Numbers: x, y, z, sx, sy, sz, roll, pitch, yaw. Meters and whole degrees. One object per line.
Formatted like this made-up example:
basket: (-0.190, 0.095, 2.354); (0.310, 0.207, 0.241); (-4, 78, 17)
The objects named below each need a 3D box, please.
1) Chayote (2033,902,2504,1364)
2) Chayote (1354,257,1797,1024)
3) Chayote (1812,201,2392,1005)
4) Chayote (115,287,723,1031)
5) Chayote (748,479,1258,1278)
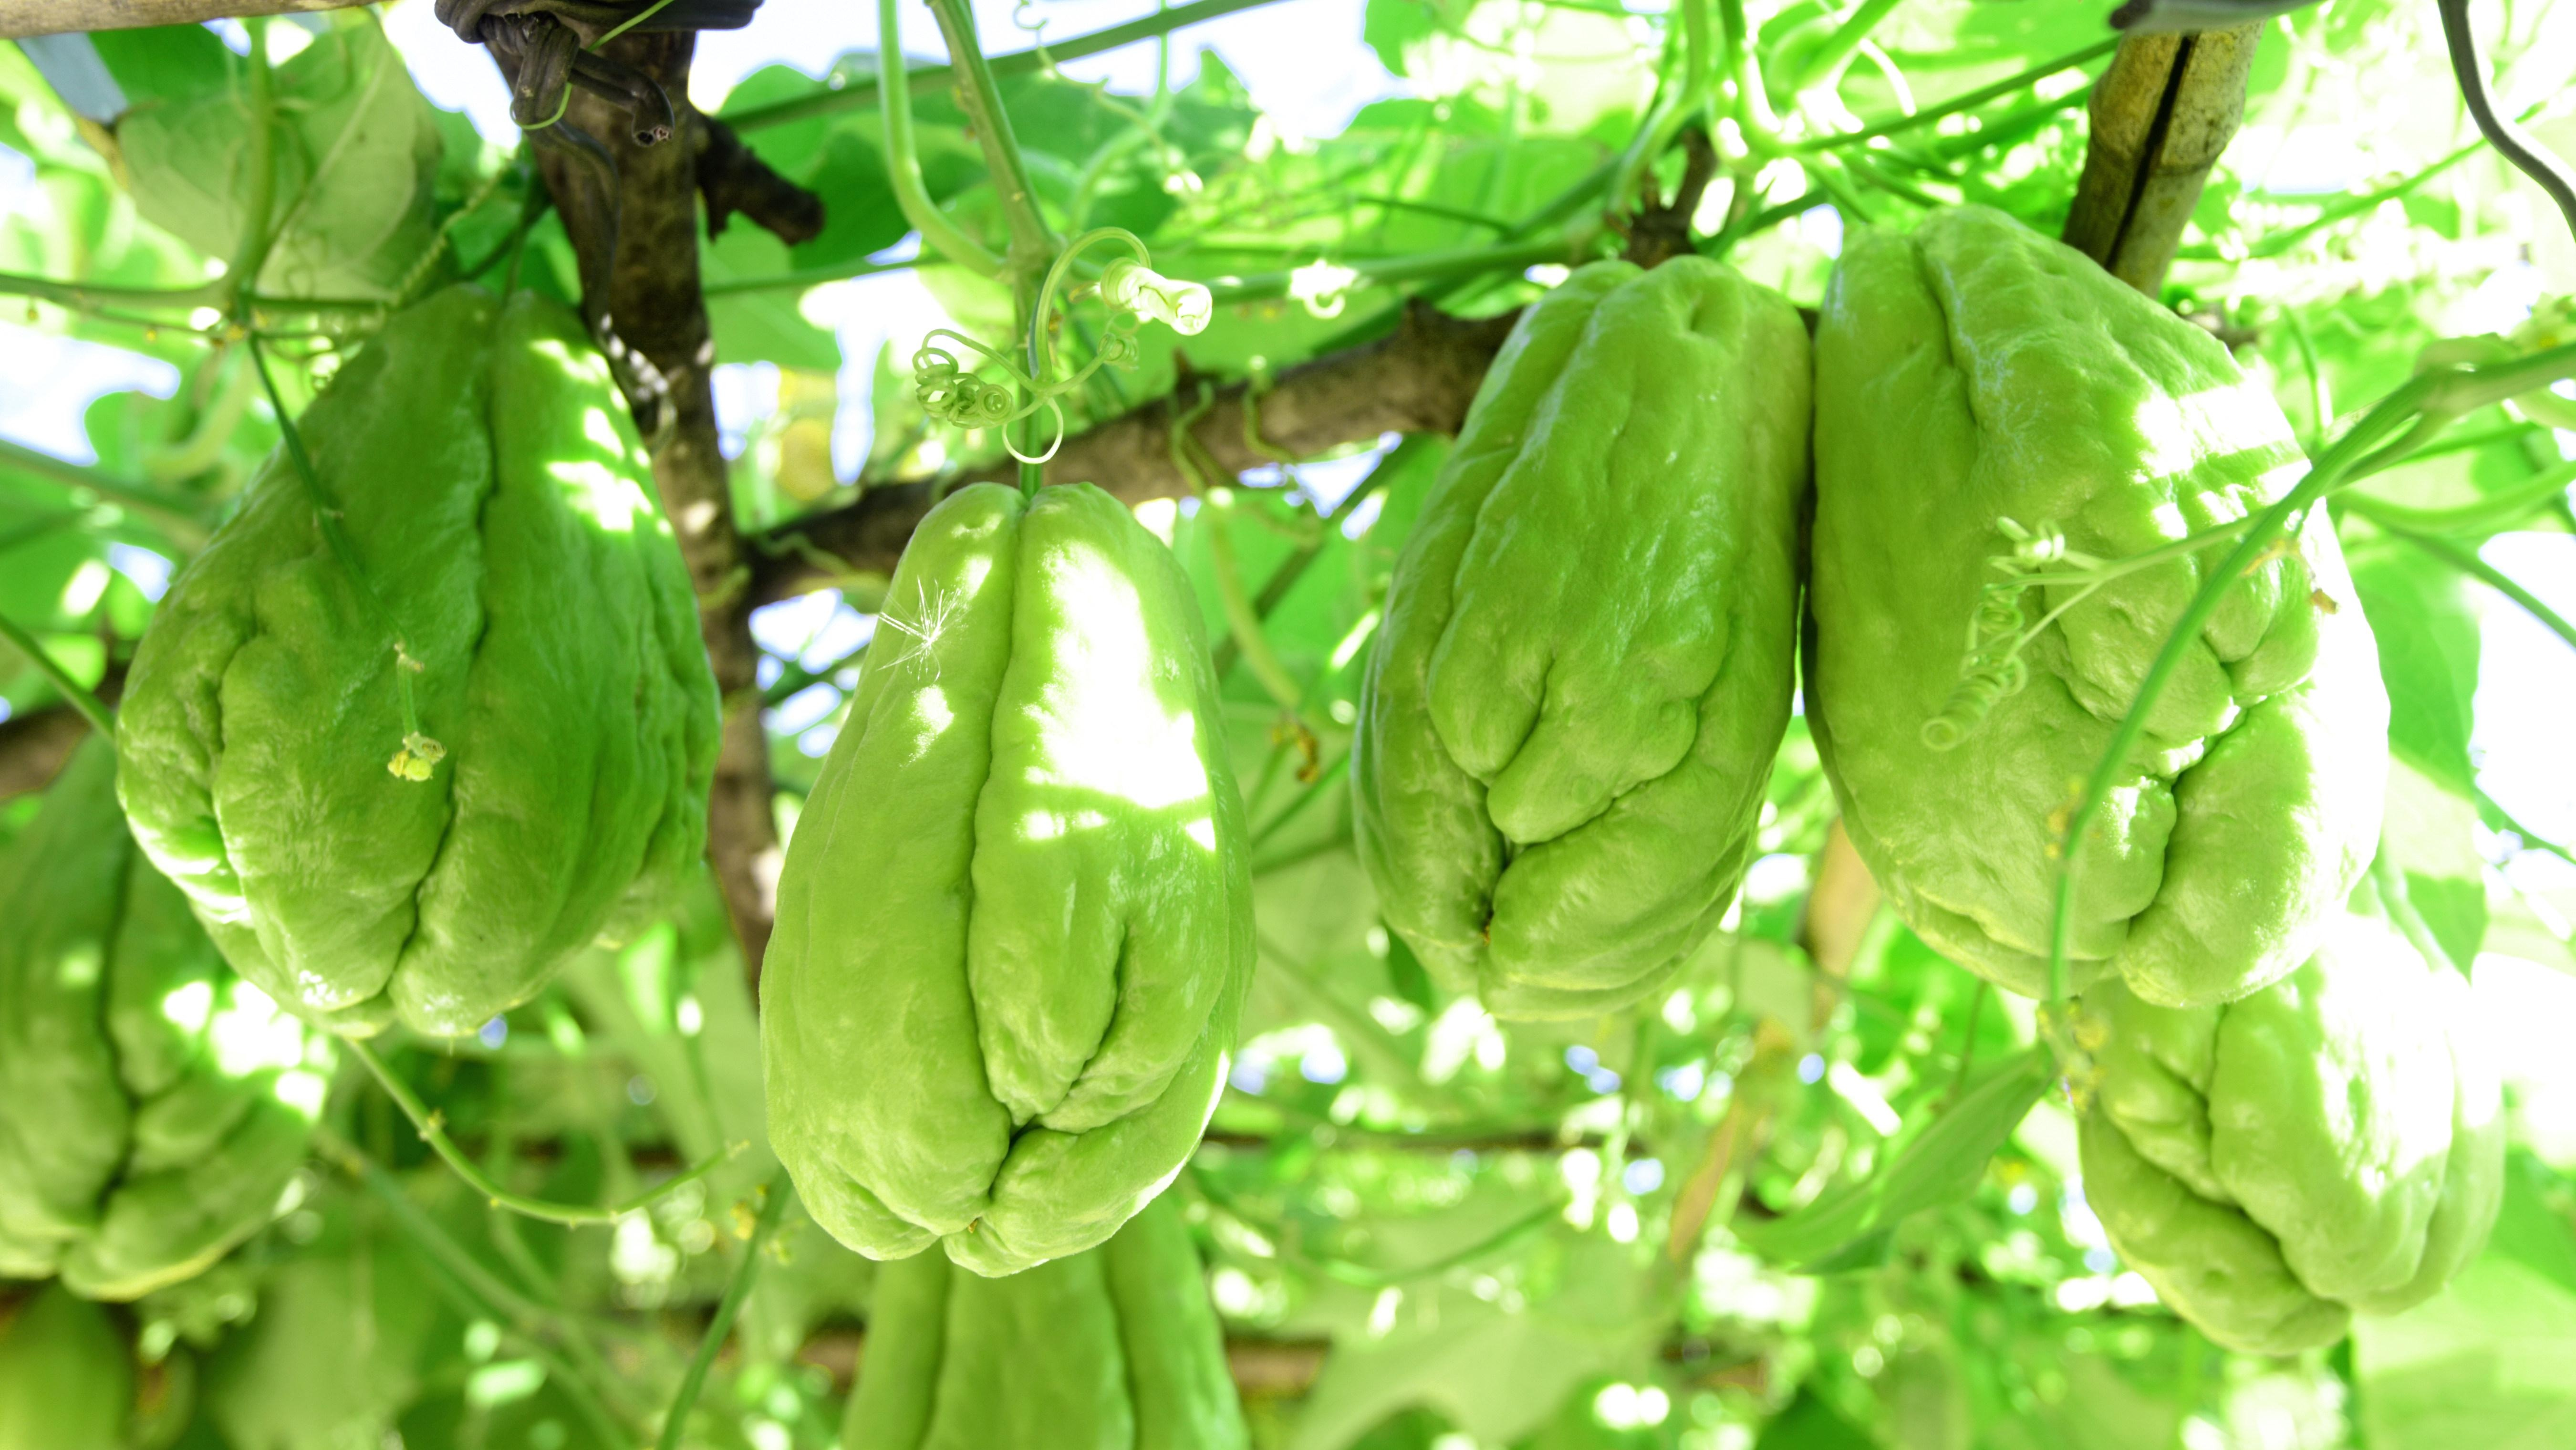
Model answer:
Chayote: (0.761, 0.315, 2.097); (0.316, 0.363, 0.183); (-13, -3, -10)
Chayote: (0.217, -0.056, 1.956); (0.303, 0.534, 0.288); (19, -8, 7)
Chayote: (0.557, -0.115, 1.951); (0.422, 0.522, 0.344); (-20, 1, 17)
Chayote: (-0.647, 0.025, 1.949); (0.391, 0.460, 0.221); (-20, -31, -36)
Chayote: (-0.189, 0.102, 1.789); (0.315, 0.533, 0.153); (9, -19, -10)
